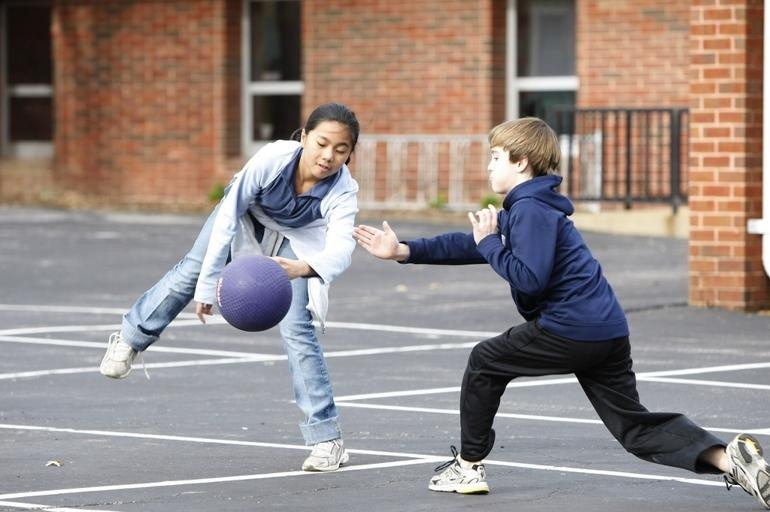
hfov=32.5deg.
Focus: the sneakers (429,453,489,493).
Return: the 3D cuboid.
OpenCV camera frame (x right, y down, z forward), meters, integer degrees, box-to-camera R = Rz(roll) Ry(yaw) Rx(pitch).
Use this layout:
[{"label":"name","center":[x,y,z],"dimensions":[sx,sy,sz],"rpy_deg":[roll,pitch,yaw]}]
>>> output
[{"label":"sneakers","center":[0.578,1.704,10.268],"dimensions":[0.570,0.255,0.222],"rpy_deg":[-2,-6,36]}]
